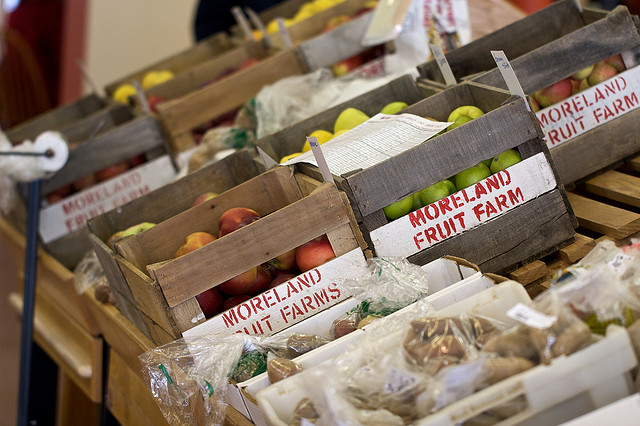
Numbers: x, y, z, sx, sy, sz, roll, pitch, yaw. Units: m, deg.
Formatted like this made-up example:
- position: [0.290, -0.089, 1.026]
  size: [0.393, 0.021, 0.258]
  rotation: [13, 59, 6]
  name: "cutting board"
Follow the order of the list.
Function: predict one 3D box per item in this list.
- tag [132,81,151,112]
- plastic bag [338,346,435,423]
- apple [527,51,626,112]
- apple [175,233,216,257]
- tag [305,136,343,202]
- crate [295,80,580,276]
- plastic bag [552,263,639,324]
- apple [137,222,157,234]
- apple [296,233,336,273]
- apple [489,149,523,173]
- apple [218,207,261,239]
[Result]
- position: [-0.849, -0.562, 3.078]
  size: [0.038, 0.166, 0.151]
  rotation: [-22, 14, -2]
  name: "tag"
- position: [0.174, 0.429, 1.620]
  size: [0.205, 0.157, 0.064]
  rotation: [-34, -1, -5]
  name: "plastic bag"
- position: [0.977, -0.504, 2.469]
  size: [0.380, 0.091, 0.077]
  rotation: [-29, -5, 1]
  name: "apple"
- position: [-0.426, 0.095, 2.206]
  size: [0.092, 0.104, 0.094]
  rotation: [-20, -16, 31]
  name: "apple"
- position: [0.001, -0.168, 2.068]
  size: [0.039, 0.192, 0.004]
  rotation: [9, 51, 32]
  name: "tag"
- position: [0.389, -0.191, 2.392]
  size: [0.957, 0.602, 0.563]
  rotation: [-14, 18, -19]
  name: "crate"
- position: [0.732, 0.211, 1.759]
  size: [0.143, 0.142, 0.210]
  rotation: [-5, 20, 3]
  name: "plastic bag"
- position: [-0.651, 0.049, 2.384]
  size: [0.042, 0.027, 0.042]
  rotation: [-23, 16, -36]
  name: "apple"
- position: [-0.015, 0.126, 2.153]
  size: [0.122, 0.118, 0.131]
  rotation: [-6, 22, -2]
  name: "apple"
- position: [0.629, -0.182, 2.193]
  size: [0.072, 0.082, 0.079]
  rotation: [-15, -25, 40]
  name: "apple"
- position: [-0.285, 0.019, 2.232]
  size: [0.111, 0.118, 0.104]
  rotation: [-9, -1, -39]
  name: "apple"
